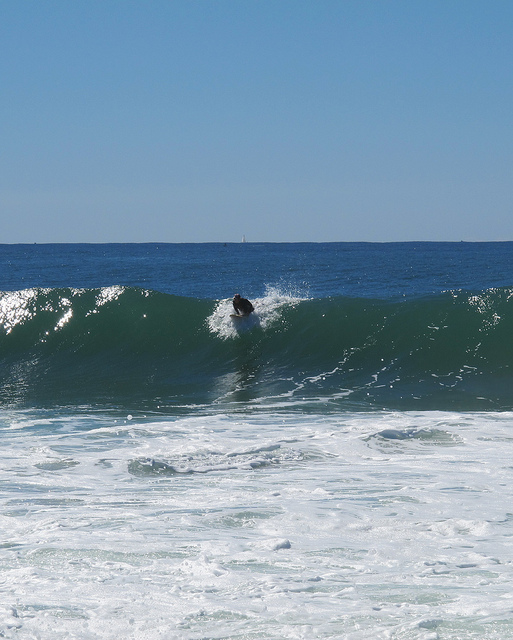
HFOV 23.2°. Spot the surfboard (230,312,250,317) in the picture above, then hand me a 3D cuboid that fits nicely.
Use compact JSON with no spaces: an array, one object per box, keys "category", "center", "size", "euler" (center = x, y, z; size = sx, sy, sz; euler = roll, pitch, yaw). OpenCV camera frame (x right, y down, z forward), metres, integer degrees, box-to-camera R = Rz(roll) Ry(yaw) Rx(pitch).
[{"category":"surfboard","center":[-0.272,-0.087,17.886],"size":[0.286,0.062,0.212],"euler":[8,11,44]}]
